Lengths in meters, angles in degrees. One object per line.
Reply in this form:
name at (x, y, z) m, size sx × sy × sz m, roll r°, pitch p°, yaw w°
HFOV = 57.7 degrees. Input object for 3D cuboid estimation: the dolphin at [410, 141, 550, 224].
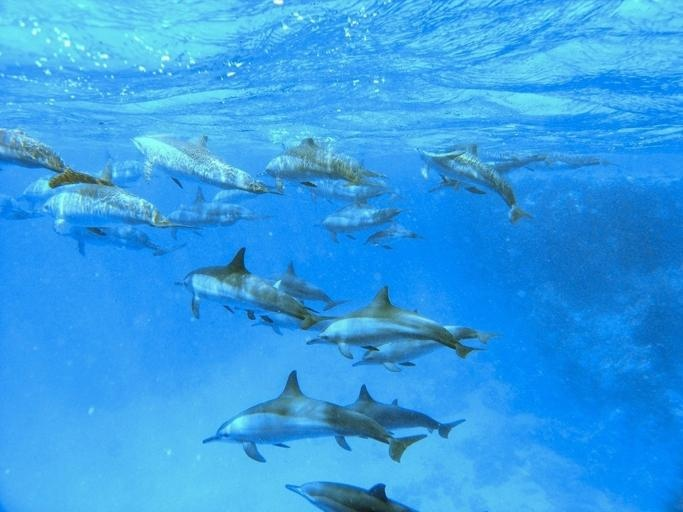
dolphin at (5.175, -3.341, 24.945) m, size 6.004 × 2.162 × 2.028 m, roll 24°, pitch 19°, yaw 15°
